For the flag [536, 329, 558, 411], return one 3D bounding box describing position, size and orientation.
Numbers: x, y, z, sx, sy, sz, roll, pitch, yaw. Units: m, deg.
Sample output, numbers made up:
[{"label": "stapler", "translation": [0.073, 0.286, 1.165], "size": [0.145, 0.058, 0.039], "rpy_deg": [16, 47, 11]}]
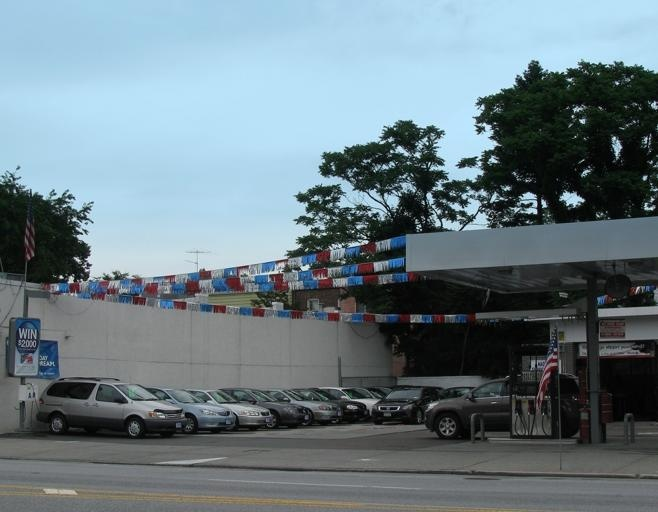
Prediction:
[{"label": "flag", "translation": [6.604, 3.520, 35.524], "size": [0.686, 2.374, 1.737], "rpy_deg": [-2, -9, 9]}]
